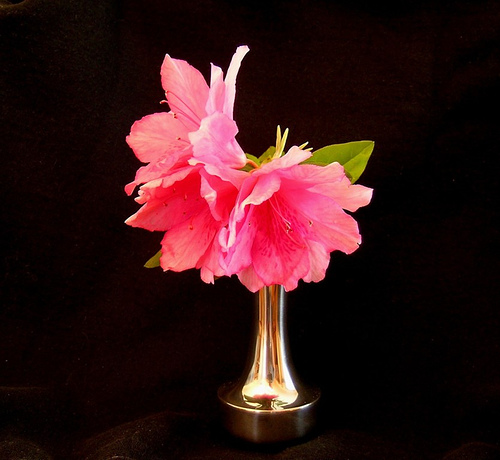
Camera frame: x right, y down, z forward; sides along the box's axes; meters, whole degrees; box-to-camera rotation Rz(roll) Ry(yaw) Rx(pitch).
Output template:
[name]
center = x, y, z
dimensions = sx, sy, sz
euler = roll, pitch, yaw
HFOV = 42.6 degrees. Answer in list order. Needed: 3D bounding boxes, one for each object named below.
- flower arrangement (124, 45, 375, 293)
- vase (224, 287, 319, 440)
[flower arrangement]
center = 0.019, -0.063, 0.866
dimensions = 0.339, 0.232, 0.317
euler = 15, 37, 34
[vase]
center = 0.029, 0.190, 0.953
dimensions = 0.156, 0.220, 0.143
euler = 0, 2, -20
